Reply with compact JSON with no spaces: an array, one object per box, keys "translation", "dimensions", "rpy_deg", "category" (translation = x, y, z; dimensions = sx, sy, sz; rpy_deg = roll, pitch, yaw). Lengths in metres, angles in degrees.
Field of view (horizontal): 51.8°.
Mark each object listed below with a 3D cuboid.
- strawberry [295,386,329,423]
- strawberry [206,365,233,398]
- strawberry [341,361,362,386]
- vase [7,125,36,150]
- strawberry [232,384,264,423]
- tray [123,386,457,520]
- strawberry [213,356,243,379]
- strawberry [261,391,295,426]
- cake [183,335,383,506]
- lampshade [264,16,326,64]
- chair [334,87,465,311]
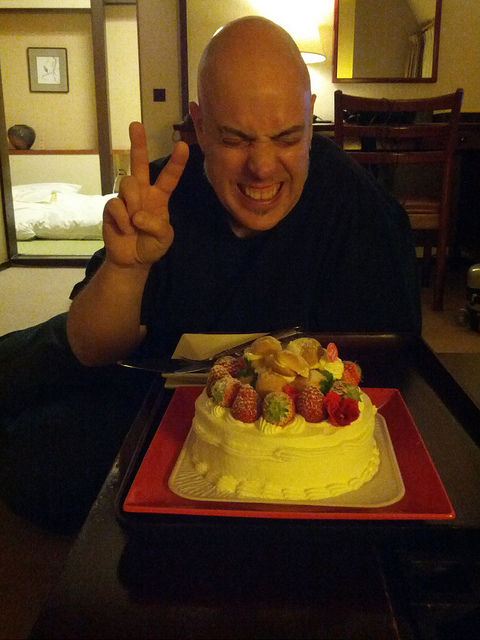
[{"translation":[0.083,0.095,0.573],"dimensions":[0.033,0.042,0.034],"rpy_deg":[-3,-5,-27],"category":"strawberry"},{"translation":[-0.023,0.080,0.643],"dimensions":[0.029,0.040,0.040],"rpy_deg":[3,7,0],"category":"strawberry"},{"translation":[0.148,0.070,0.654],"dimensions":[0.028,0.010,0.031],"rpy_deg":[-3,29,1],"category":"strawberry"},{"translation":[-2.590,-2.177,5.960],"dimensions":[0.280,0.279,0.288],"rpy_deg":[1,14,1],"category":"vase"},{"translation":[0.010,0.099,0.577],"dimensions":[0.026,0.043,0.034],"rpy_deg":[7,23,36],"category":"strawberry"},{"translation":[0.054,0.137,0.573],"dimensions":[0.314,0.035,0.316],"rpy_deg":[0,15,4],"category":"tray"},{"translation":[-0.014,0.059,0.655],"dimensions":[0.025,0.020,0.030],"rpy_deg":[24,-1,-33],"category":"strawberry"},{"translation":[0.042,0.099,0.547],"dimensions":[0.035,0.037,0.018],"rpy_deg":[-24,-6,28],"category":"strawberry"},{"translation":[0.056,0.102,0.638],"dimensions":[0.252,0.149,0.240],"rpy_deg":[-5,19,-12],"category":"cake"},{"translation":[0.444,-2.131,3.701],"dimensions":[0.431,0.334,0.347],"rpy_deg":[0,14,3],"category":"lampshade"},{"translation":[0.955,-0.691,3.007],"dimensions":[0.945,1.262,0.658],"rpy_deg":[-4,14,-13],"category":"chair"}]
